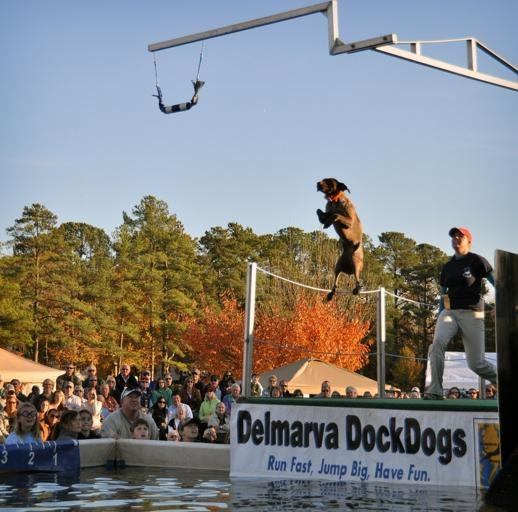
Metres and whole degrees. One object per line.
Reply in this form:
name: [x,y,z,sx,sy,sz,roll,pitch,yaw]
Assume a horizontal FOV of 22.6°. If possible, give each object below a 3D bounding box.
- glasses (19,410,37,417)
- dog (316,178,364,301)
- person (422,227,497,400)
glasses: [-2.737,1.886,15.408,0.214,0.086,0.054,8,-12,-27]
dog: [0.950,-0.251,15.145,0.482,1.109,1.197,1,-11,9]
person: [2.265,0.621,14.497,0.775,1.960,0.617,1,-11,9]
